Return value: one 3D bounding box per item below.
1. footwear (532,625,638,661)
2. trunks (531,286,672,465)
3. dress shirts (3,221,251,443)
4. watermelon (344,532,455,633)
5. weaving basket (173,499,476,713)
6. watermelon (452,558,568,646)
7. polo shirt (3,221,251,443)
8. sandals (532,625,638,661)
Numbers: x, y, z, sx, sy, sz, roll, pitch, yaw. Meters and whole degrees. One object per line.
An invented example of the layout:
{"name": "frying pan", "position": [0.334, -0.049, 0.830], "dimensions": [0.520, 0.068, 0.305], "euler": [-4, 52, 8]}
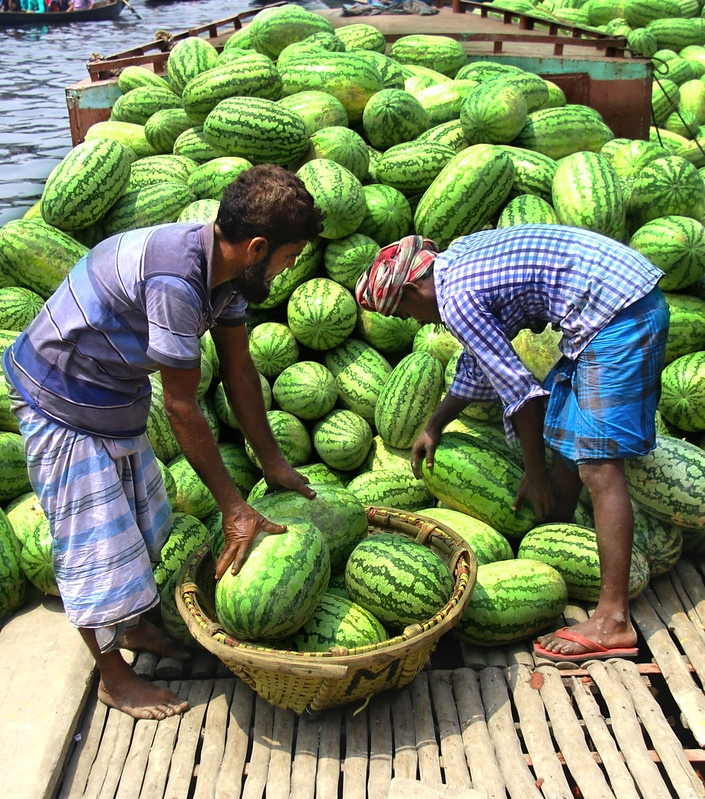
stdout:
{"name": "footwear", "position": [0.791, 0.837, 2.563], "dimensions": [0.271, 0.049, 0.134], "euler": [1, -7, 2]}
{"name": "trunks", "position": [0.825, -0.070, 2.502], "dimensions": [0.362, 0.564, 0.324], "euler": [4, 33, 18]}
{"name": "dress shirts", "position": [-0.684, -0.152, 2.150], "dimensions": [0.662, 0.647, 0.299], "euler": [4, 34, 18]}
{"name": "watermelon", "position": [0.160, 0.596, 2.588], "dimensions": [0.375, 0.233, 0.268], "euler": [9, 23, 29]}
{"name": "weaving basket", "position": [-0.095, 0.674, 2.412], "dimensions": [0.800, 0.276, 0.703], "euler": [-7, 16, -13]}
{"name": "watermelon", "position": [0.586, 0.730, 2.757], "dimensions": [0.437, 0.201, 0.242], "euler": [-8, 2, -20]}
{"name": "polo shirt", "position": [-0.683, -0.152, 2.149], "dimensions": [0.664, 0.647, 0.292], "euler": [4, 34, 17]}
{"name": "sandals", "position": [0.799, 0.837, 2.560], "dimensions": [0.271, 0.049, 0.134], "euler": [1, -7, 2]}
